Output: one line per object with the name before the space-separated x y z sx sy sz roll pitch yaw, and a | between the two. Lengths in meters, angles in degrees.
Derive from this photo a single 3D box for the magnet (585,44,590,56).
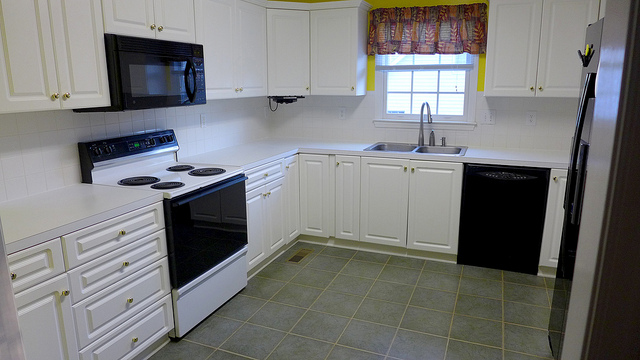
magnet | 1.919 -0.932 2.844 0.025 0.088 0.023 -3 -23 42

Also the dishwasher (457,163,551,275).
dishwasher | 1.834 0.389 3.998 0.753 1.091 0.129 4 18 18

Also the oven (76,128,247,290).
oven | -1.335 0.274 3.585 1.397 1.209 1.241 6 16 -2

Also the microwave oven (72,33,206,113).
microwave oven | -1.574 -0.925 3.489 0.668 0.508 0.997 8 16 26

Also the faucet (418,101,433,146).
faucet | 1.220 -0.658 4.625 0.135 0.498 0.255 7 18 27

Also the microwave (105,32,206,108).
microwave | -1.526 -0.935 3.485 0.638 0.569 1.032 10 17 21
